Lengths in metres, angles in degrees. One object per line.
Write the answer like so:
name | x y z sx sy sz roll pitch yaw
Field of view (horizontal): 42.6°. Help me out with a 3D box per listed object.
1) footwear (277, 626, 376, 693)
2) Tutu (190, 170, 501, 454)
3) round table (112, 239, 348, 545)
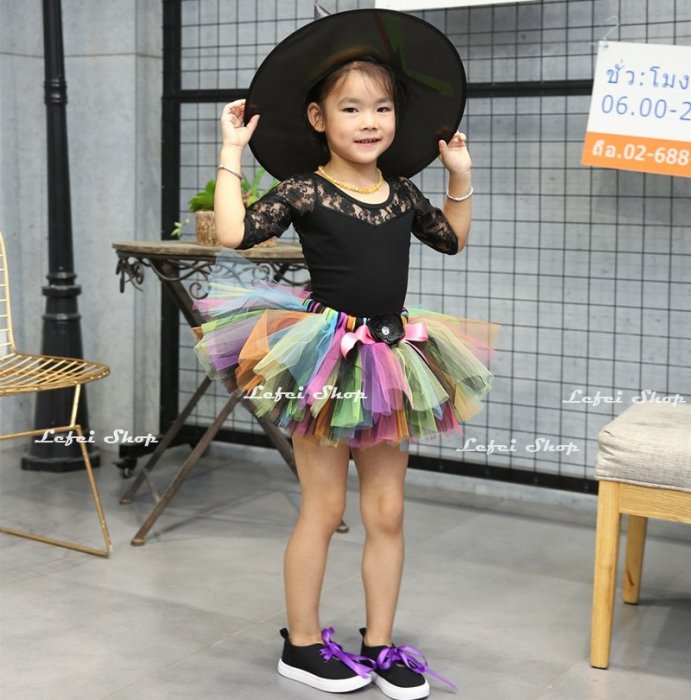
footwear | -0.047 0.666 1.916 0.200 0.064 0.109 2 4 23
Tutu | 0.025 -0.084 1.861 0.676 0.554 0.379 -1 12 -7
round table | -0.313 0.130 3.032 1.078 0.922 0.953 6 4 -17
